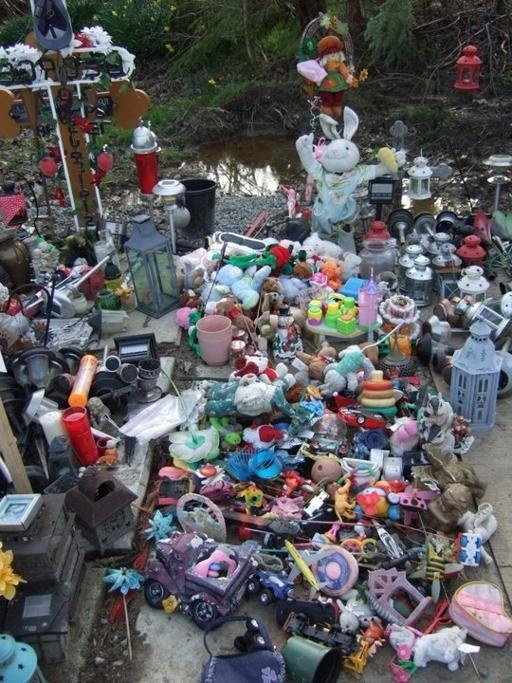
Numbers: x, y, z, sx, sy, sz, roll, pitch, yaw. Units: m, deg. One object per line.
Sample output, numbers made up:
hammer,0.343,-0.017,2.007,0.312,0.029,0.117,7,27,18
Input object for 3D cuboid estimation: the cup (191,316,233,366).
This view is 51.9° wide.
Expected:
cup,-0.320,0.032,4.320,0.393,0.347,0.285,-9,-5,-2

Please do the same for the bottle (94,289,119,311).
bottle,-1.311,-0.367,4.686,0.201,0.181,0.188,3,33,-1

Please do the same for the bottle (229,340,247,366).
bottle,-0.149,0.087,4.096,0.159,0.253,0.149,1,49,-1

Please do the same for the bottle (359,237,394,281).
bottle,1.109,-0.851,5.219,0.417,0.419,0.313,-6,35,-8
